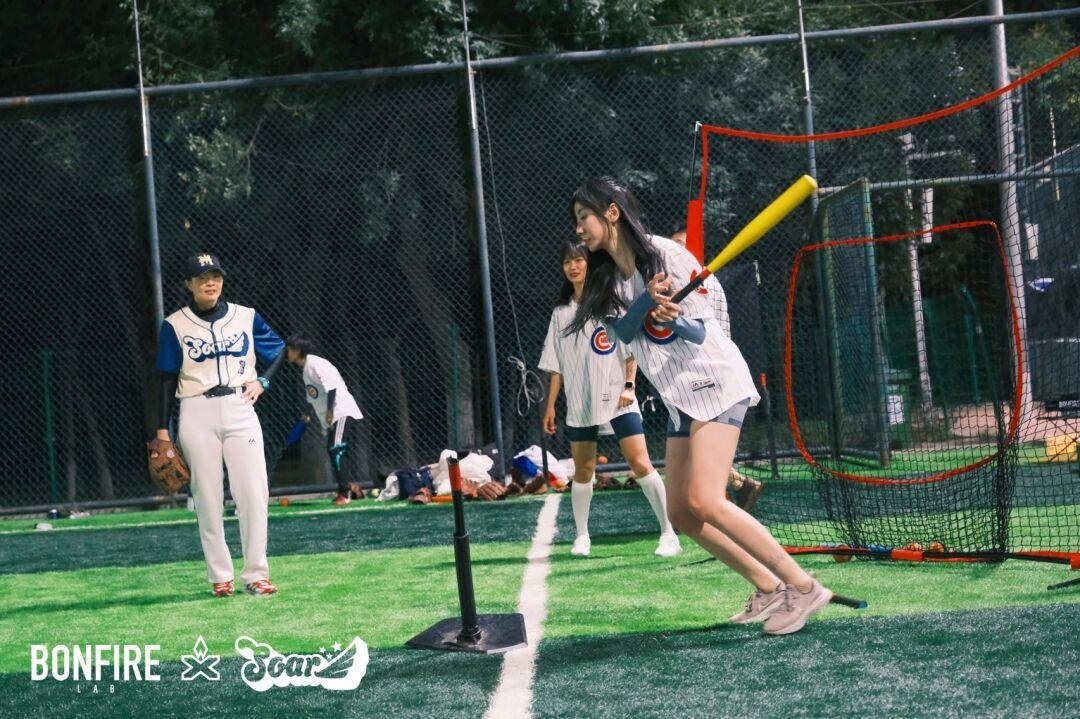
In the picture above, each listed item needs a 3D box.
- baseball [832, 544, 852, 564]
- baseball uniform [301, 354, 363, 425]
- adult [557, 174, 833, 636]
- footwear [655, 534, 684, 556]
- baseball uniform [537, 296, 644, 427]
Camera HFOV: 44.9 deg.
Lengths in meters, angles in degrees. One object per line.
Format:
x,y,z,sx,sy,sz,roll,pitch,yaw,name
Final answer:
2.761,1.748,11.839,0.131,0.134,0.150,4,-29,-39,baseball
-2.559,0.376,16.234,0.404,0.777,0.678,-31,4,-17,baseball uniform
1.134,0.327,10.385,1.796,3.835,1.427,-8,-10,6,adult
1.232,1.747,12.340,0.244,0.201,0.490,-2,-9,13,footwear
0.503,0.033,12.535,1.221,1.518,0.589,-7,-25,12,baseball uniform
